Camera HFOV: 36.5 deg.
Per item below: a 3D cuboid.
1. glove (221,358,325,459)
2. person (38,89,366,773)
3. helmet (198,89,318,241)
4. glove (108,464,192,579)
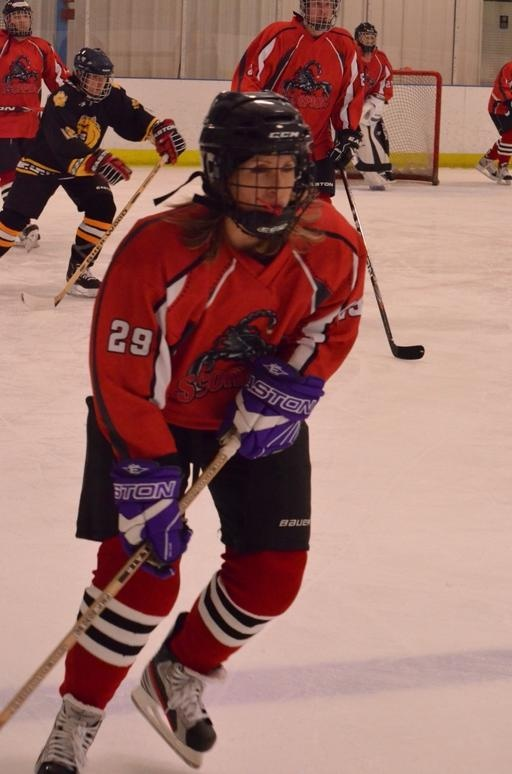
[{"bbox_3d":[0.016,0.021,1.152,0.129,0.142,0.059,31,1,-21],"label":"glove"},{"bbox_3d":[-0.051,0.069,1.097,0.438,0.942,0.308,4,11,-13],"label":"person"},{"bbox_3d":[0.004,-0.289,1.000,0.158,0.190,0.097,5,10,-5],"label":"helmet"},{"bbox_3d":[-0.136,0.165,0.991,0.108,0.147,0.057,5,10,-6],"label":"glove"}]
